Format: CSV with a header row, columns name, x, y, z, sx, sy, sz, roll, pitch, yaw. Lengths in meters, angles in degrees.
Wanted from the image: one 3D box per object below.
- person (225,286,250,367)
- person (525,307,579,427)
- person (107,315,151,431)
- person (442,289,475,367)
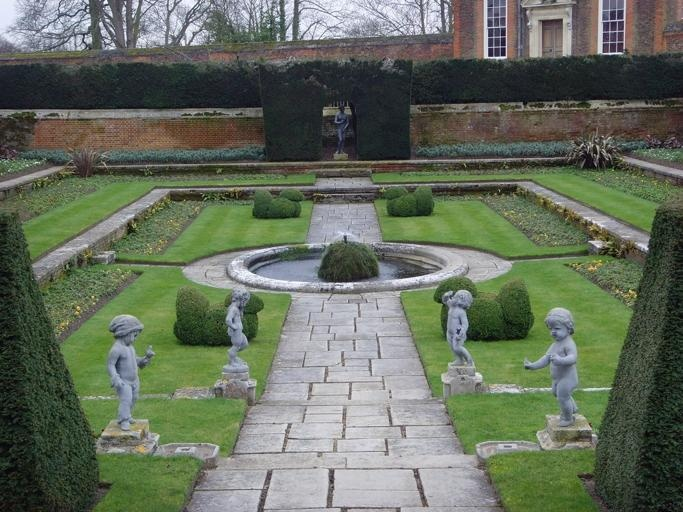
name,x,y,z,sx,sy,sz,roll,pitch,yaw
person,-1.473,1.037,9.329,0.371,1.103,0.646,-5,13,-8
person,2.298,1.190,7.101,0.520,1.273,0.370,1,14,16
person,-2.344,1.292,7.333,0.491,1.386,0.650,-7,14,-16
person,1.648,0.998,9.240,0.401,1.104,0.757,-1,13,8
